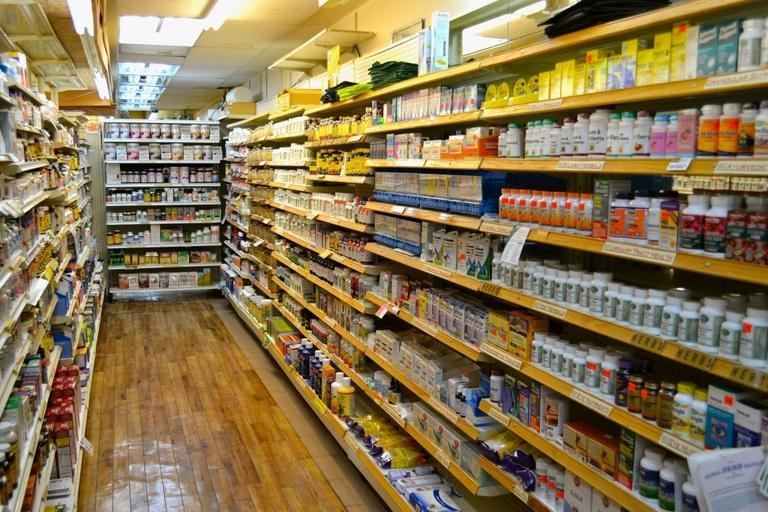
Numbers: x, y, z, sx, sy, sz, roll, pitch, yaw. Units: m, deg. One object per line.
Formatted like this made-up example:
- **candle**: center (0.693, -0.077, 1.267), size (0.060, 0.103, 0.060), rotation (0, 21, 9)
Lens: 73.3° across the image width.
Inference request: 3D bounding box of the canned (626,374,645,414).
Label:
- **canned**: center (1.155, 0.643, 2.394), size (0.098, 0.150, 0.097), rotation (13, -12, -32)

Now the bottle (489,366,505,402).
- **bottle**: center (0.706, 0.808, 3.224), size (0.071, 0.197, 0.154), rotation (-6, 13, -30)

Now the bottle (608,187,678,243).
- **bottle**: center (1.159, -0.155, 2.293), size (0.111, 0.201, 0.256), rotation (3, 3, -29)

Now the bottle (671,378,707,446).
- **bottle**: center (1.296, 0.651, 2.163), size (0.114, 0.207, 0.140), rotation (-10, 15, -41)

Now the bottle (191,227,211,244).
- **bottle**: center (-3.780, -0.347, 10.554), size (0.362, 0.312, 0.161), rotation (1, 17, -7)

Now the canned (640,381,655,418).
- **canned**: center (1.192, 0.643, 2.304), size (0.066, 0.164, 0.036), rotation (6, 13, 24)
